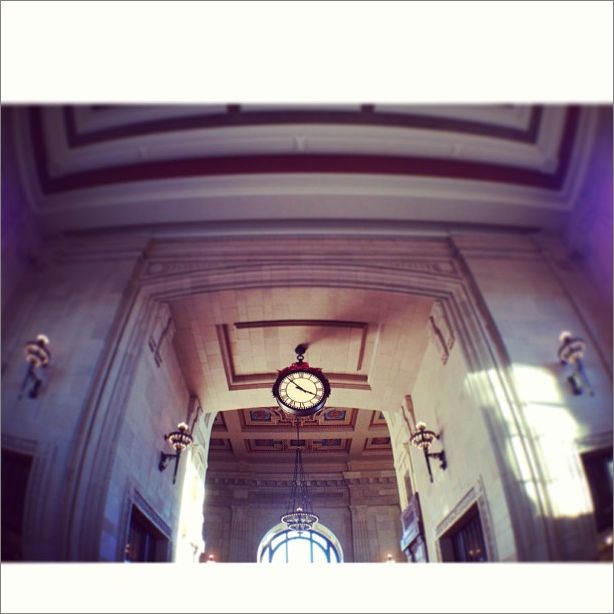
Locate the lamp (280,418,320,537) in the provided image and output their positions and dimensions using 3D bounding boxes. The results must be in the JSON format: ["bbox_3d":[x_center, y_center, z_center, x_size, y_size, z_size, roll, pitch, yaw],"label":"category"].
[{"bbox_3d":[-0.128,2.801,7.216,0.526,0.582,2.215,-4,-70,-8],"label":"lamp"}]

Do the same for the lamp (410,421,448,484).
[{"bbox_3d":[1.622,1.907,5.925,0.373,0.890,0.854,-5,-36,5],"label":"lamp"}]

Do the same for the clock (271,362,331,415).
[{"bbox_3d":[-0.080,1.063,5.789,0.738,0.595,0.474,1,-35,-5],"label":"clock"}]

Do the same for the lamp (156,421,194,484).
[{"bbox_3d":[-1.655,1.830,5.583,0.323,0.743,0.239,15,-21,-28],"label":"lamp"}]

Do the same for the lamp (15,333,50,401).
[{"bbox_3d":[-2.570,0.558,4.211,0.198,0.701,0.259,11,-13,-11],"label":"lamp"}]
